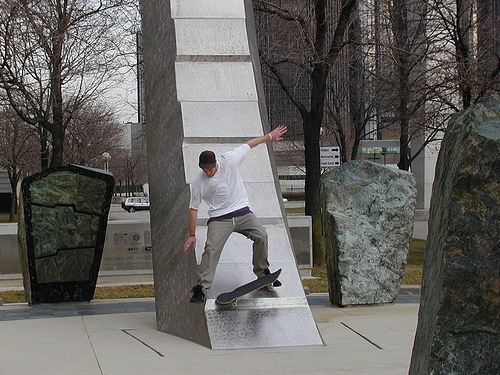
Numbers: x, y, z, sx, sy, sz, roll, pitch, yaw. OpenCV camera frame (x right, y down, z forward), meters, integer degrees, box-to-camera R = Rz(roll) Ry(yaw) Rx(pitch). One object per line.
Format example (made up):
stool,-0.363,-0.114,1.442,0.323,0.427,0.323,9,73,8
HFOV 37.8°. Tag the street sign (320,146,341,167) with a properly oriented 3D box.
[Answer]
street sign,2.562,-1.029,23.705,0.617,0.668,1.067,-1,1,5

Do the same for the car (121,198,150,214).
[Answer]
car,-8.546,1.291,54.489,2.318,0.913,1.119,-7,13,-15

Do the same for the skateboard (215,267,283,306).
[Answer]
skateboard,-0.036,1.651,12.110,0.974,0.173,0.231,-26,30,-4
